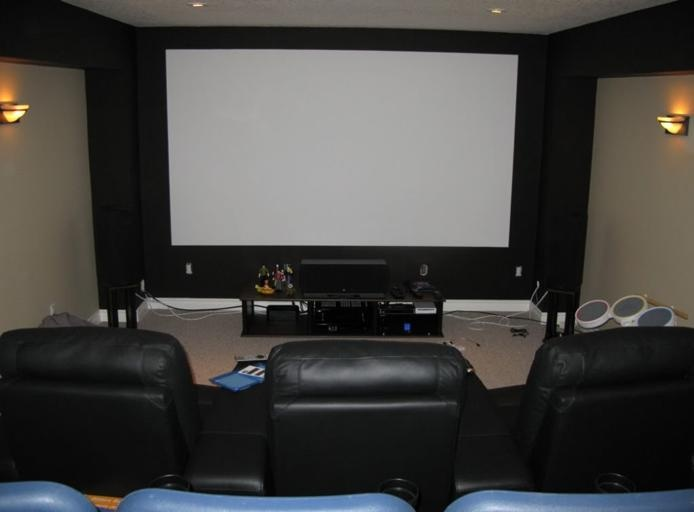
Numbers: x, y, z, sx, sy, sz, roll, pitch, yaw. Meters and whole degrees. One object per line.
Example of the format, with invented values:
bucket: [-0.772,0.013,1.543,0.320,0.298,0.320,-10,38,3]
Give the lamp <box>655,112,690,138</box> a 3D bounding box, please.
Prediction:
lamp: [2.835,-1.124,4.910,0.204,0.245,0.245,-12,16,-30]

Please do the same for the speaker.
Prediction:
speaker: [-0.029,0.316,5.877,0.927,0.363,0.301,0,-31,-2]
